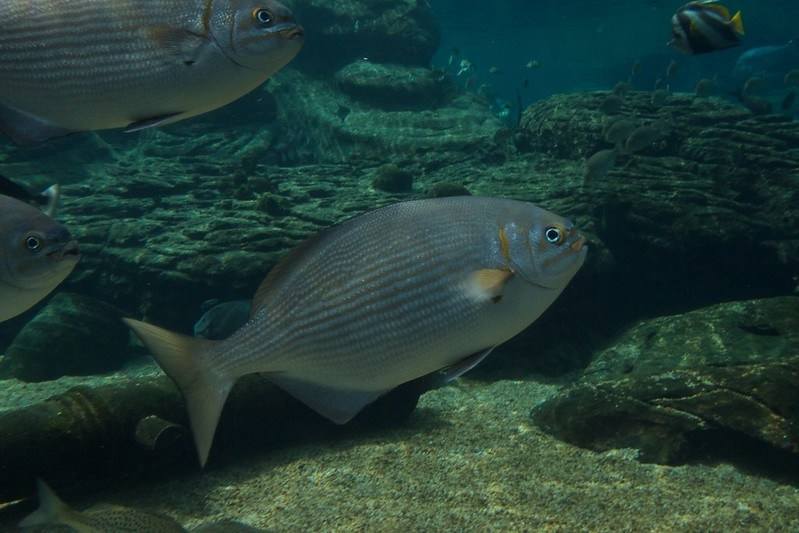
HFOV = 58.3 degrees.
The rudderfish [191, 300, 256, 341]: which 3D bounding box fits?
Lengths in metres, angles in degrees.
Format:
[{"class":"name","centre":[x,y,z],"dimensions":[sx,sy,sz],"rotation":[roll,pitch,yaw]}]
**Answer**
[{"class":"rudderfish","centre":[-2.855,0.896,11.902],"dimensions":[0.900,0.213,0.764],"rotation":[-6,44,46]}]
